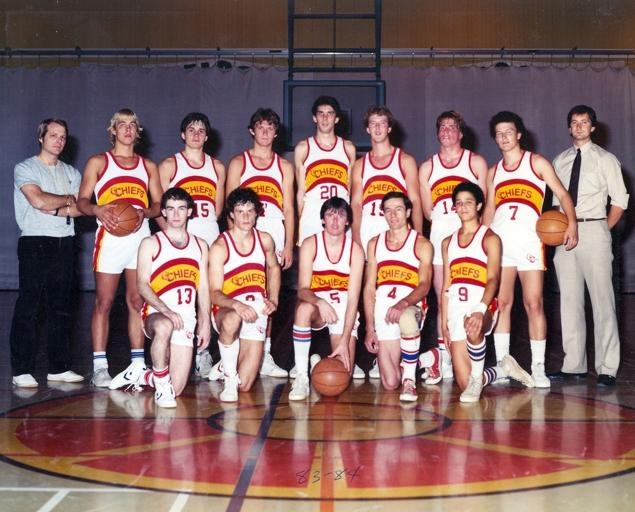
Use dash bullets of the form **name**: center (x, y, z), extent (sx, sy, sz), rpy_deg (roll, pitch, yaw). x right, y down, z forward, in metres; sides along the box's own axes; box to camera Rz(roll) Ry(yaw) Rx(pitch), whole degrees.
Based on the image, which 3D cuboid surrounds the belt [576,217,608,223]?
- **belt**: center (2.269, -0.297, 5.451), extent (0.224, 0.046, 0.076), rpy_deg (-1, 4, -3)

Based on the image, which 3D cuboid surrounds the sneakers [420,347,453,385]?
- **sneakers**: center (0.993, 0.934, 5.528), extent (0.178, 0.479, 0.159), rpy_deg (9, -24, -23)

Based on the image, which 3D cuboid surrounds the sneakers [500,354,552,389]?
- **sneakers**: center (1.670, 0.933, 5.352), extent (0.418, 0.260, 0.289), rpy_deg (1, 4, 21)

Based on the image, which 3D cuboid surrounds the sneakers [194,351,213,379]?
- **sneakers**: center (-1.004, 0.963, 5.756), extent (0.101, 0.148, 0.300), rpy_deg (0, 1, -3)

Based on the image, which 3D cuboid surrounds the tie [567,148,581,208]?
- **tie**: center (2.157, -0.659, 5.533), extent (0.090, 0.478, 0.139), rpy_deg (2, 4, 35)

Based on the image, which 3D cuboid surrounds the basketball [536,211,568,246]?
- **basketball**: center (1.886, -0.213, 5.319), extent (0.234, 0.319, 0.257), rpy_deg (1, 12, 20)

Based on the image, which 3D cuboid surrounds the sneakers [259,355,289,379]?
- **sneakers**: center (-0.418, 0.993, 5.810), extent (0.302, 0.221, 0.122), rpy_deg (-3, -4, 30)

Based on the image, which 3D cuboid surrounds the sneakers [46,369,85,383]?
- **sneakers**: center (-2.122, 1.015, 5.518), extent (0.285, 0.125, 0.120), rpy_deg (0, -6, 3)

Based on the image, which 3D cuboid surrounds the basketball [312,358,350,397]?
- **basketball**: center (0.099, 0.918, 4.900), extent (0.250, 0.282, 0.258), rpy_deg (1, -14, -4)
